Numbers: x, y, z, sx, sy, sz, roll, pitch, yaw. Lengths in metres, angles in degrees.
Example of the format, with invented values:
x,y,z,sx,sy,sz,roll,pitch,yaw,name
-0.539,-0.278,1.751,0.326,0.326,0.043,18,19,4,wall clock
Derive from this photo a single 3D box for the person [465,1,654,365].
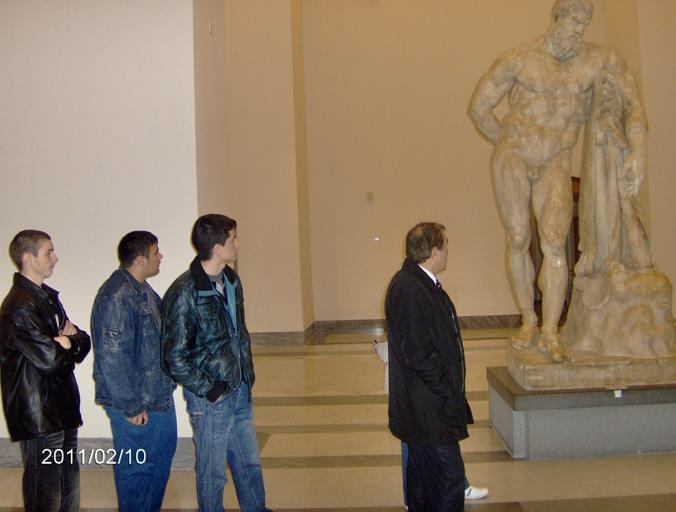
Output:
x,y,z,sx,sy,sz,roll,pitch,yaw,name
1.603,-0.600,5.269,1.152,2.697,0.410,0,5,11,person
